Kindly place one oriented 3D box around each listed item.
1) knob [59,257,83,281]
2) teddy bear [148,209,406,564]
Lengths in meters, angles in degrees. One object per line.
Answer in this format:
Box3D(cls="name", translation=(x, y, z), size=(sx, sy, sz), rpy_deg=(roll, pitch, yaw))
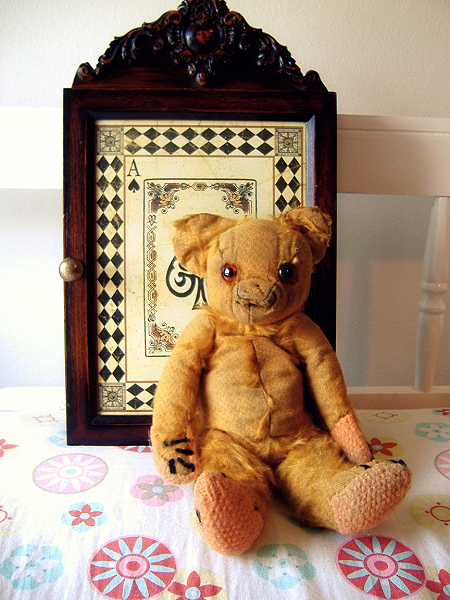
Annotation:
Box3D(cls="knob", translation=(-0.218, -0.042, 0.857), size=(0.023, 0.032, 0.028), rpy_deg=(7, 15, 26))
Box3D(cls="teddy bear", translation=(0.054, 0.087, 0.736), size=(0.324, 0.343, 0.272), rpy_deg=(1, 18, -13))
